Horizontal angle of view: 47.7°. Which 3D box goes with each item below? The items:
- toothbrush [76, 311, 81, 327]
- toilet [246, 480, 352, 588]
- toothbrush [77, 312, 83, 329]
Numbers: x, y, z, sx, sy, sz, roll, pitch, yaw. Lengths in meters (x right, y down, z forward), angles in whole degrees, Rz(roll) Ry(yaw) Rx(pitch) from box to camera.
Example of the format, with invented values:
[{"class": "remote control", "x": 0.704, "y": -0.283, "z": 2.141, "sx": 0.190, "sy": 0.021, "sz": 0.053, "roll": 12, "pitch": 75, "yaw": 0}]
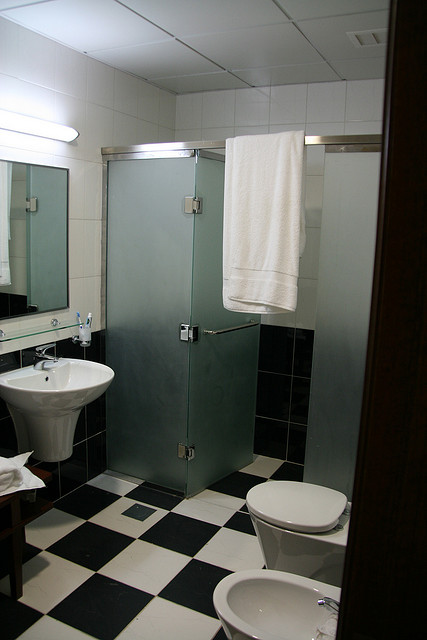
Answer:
[{"class": "toothbrush", "x": -0.731, "y": -0.010, "z": 2.623, "sx": 0.024, "sy": 0.066, "sz": 0.101, "roll": 0, "pitch": 8, "yaw": -16}, {"class": "toilet", "x": 0.322, "y": 0.829, "z": 1.893, "sx": 0.384, "sy": 0.284, "sz": 0.308, "roll": 5, "pitch": 8, "yaw": 21}, {"class": "toothbrush", "x": -0.728, "y": 0.001, "z": 2.627, "sx": 0.012, "sy": 0.087, "sz": 0.009, "roll": -8, "pitch": 6, "yaw": 30}]
